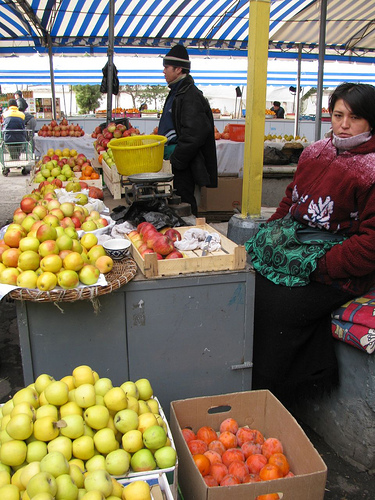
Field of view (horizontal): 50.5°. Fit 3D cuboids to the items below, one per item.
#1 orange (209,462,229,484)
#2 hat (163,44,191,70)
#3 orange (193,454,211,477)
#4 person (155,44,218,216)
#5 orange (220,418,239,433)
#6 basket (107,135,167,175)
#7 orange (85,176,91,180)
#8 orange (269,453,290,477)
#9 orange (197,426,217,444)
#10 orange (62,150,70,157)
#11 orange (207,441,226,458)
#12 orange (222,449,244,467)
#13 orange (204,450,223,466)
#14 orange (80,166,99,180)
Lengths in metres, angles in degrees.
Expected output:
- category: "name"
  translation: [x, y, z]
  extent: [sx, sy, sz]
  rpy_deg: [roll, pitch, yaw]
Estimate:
- category: "orange"
  translation: [0.123, 0.856, 1.538]
  extent: [0.069, 0.061, 0.147]
  rpy_deg: [1, 15, 9]
- category: "hat"
  translation: [-0.108, -1.914, 3.949]
  extent: [0.250, 0.178, 0.236]
  rpy_deg: [10, 40, -1]
- category: "orange"
  translation: [0.053, 0.819, 1.496]
  extent: [0.066, 0.079, 0.063]
  rpy_deg: [0, 15, 4]
- category: "person"
  translation: [-0.024, -1.082, 4.409]
  extent: [0.757, 2.095, 0.841]
  rpy_deg: [-7, 28, -12]
- category: "orange"
  translation: [0.188, 0.792, 1.794]
  extent: [0.069, 0.078, 0.066]
  rpy_deg: [-7, 31, -1]
- category: "basket"
  translation: [-0.390, -0.750, 3.123]
  extent: [0.441, 0.300, 0.743]
  rpy_deg: [-2, 15, -5]
- category: "orange"
  translation: [-1.005, -0.724, 3.997]
  extent: [0.046, 0.049, 0.044]
  rpy_deg: [-5, 17, -14]
- category: "orange"
  translation: [0.360, 0.837, 1.553]
  extent: [0.064, 0.074, 0.066]
  rpy_deg: [0, 3, -1]
- category: "orange"
  translation: [0.083, 0.800, 1.719]
  extent: [0.057, 0.050, 0.056]
  rpy_deg: [9, 3, -23]
- category: "orange"
  translation: [-1.454, -1.150, 4.733]
  extent: [0.073, 0.079, 0.071]
  rpy_deg: [-1, 10, 7]
- category: "orange"
  translation: [0.125, 0.837, 1.663]
  extent: [0.054, 0.049, 0.051]
  rpy_deg: [0, -16, -5]
- category: "orange"
  translation: [0.186, 0.848, 1.624]
  extent: [0.091, 0.041, 0.083]
  rpy_deg: [-2, 15, -1]
- category: "orange"
  translation: [0.100, 0.823, 1.599]
  extent: [0.056, 0.063, 0.054]
  rpy_deg: [-5, 12, -18]
- category: "orange"
  translation: [-1.005, -0.776, 4.058]
  extent: [0.147, 0.074, 0.187]
  rpy_deg: [2, 25, -3]
